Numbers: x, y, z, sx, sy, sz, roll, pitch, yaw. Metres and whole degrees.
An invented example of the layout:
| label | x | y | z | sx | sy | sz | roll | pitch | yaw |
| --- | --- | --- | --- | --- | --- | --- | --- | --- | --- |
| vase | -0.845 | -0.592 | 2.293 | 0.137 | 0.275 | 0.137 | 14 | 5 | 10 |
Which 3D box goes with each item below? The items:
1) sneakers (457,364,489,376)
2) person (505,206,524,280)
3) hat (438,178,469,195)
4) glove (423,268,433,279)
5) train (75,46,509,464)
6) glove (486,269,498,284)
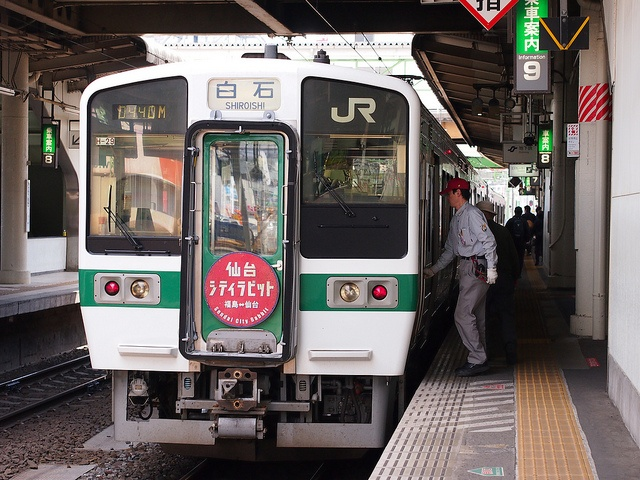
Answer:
| label | x | y | z | sx | sy | sz | roll | pitch | yaw |
| --- | --- | --- | --- | --- | --- | --- | --- | --- | --- |
| sneakers | 1.649 | 1.413 | 6.899 | 0.378 | 0.187 | 0.135 | 3 | 1 | -16 |
| person | 5.718 | -0.024 | 18.289 | 0.558 | 2.063 | 0.574 | -1 | 22 | 7 |
| hat | 1.513 | -0.587 | 6.952 | 0.239 | 0.147 | 0.178 | 2 | 1 | 1 |
| glove | 1.099 | 0.344 | 6.339 | 0.092 | 0.047 | 0.136 | -4 | 1 | 5 |
| train | -0.422 | 0.071 | 6.408 | 1.492 | 2.315 | 6.078 | 0 | 2 | 6 |
| glove | 1.798 | 0.381 | 6.579 | 0.130 | 0.151 | 0.061 | 2 | 6 | -16 |
